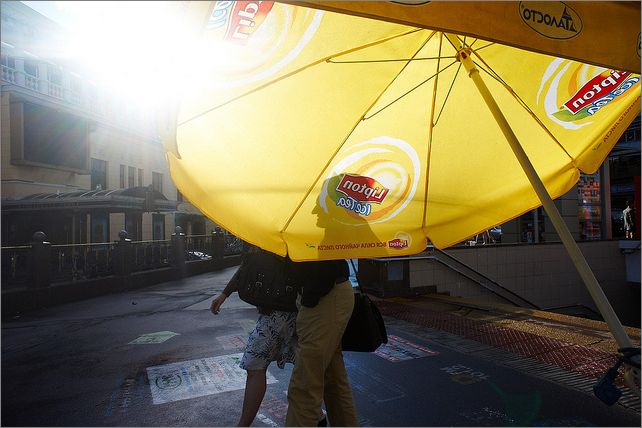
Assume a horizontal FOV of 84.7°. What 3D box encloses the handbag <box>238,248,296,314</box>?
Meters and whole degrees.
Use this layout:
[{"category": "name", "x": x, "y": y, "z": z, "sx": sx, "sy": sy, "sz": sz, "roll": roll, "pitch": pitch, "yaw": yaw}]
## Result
[{"category": "handbag", "x": -0.507, "y": 0.645, "z": 3.470, "sx": 0.613, "sy": 0.610, "sz": 0.333, "roll": 5, "pitch": -15, "yaw": 2}]
